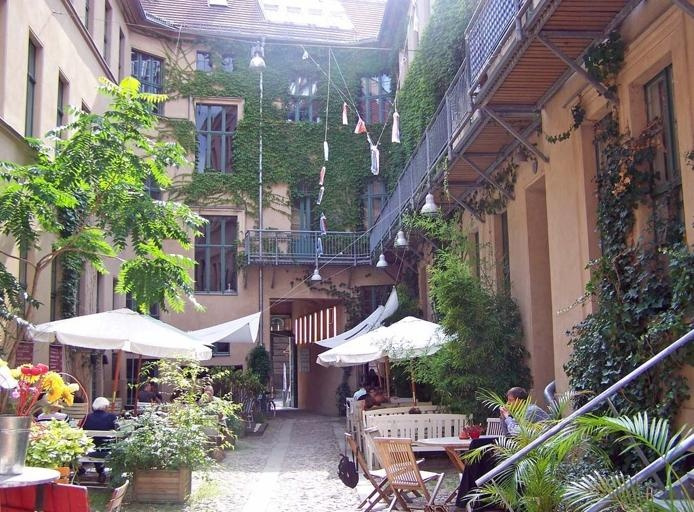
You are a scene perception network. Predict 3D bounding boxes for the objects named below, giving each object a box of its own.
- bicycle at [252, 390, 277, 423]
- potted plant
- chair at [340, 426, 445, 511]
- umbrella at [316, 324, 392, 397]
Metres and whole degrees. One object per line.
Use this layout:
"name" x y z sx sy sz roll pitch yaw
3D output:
"bicycle" -2.578 4.511 23.812 0.693 1.147 0.847 1 -13 -7
"potted plant" -2.830 3.062 12.045 1.267 1.437 1.218 1 1 5
"chair" 0.776 3.103 11.558 0.946 1.668 1.629 -4 -5 34
"umbrella" 0.211 2.123 16.373 1.050 0.417 1.080 -5 -26 -45
